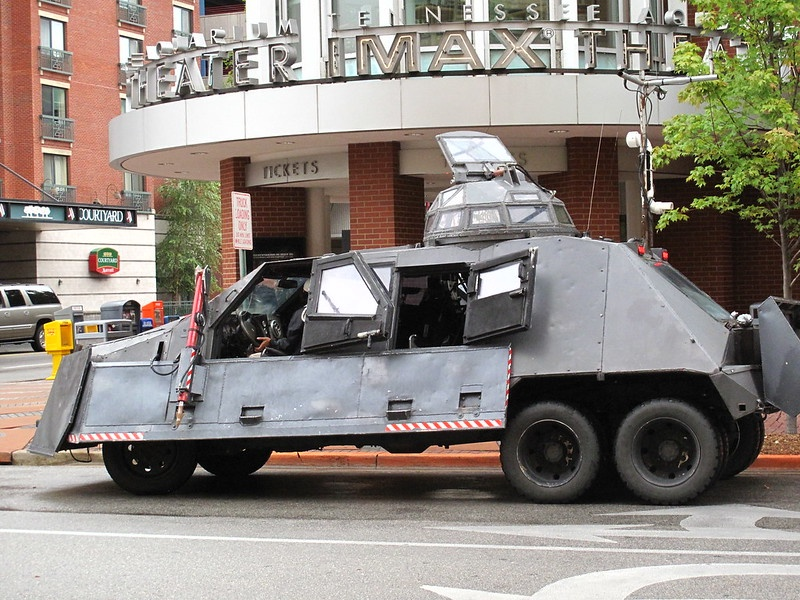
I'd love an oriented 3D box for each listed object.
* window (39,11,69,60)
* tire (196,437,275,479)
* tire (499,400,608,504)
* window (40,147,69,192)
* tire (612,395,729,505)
[{"bbox_3d":[-17.484,-13.193,44.654,1.580,1.742,0.063,11,23,6],"label":"window"},{"bbox_3d":[-2.147,2.022,11.517,0.763,0.256,0.804,0,-1,-6],"label":"tire"},{"bbox_3d":[1.663,1.658,9.833,0.986,1.108,0.363,3,5,9],"label":"tire"},{"bbox_3d":[-17.359,-6.396,44.760,1.794,2.013,0.094,5,11,9],"label":"window"},{"bbox_3d":[2.922,1.598,9.586,1.070,1.202,0.474,0,-5,13],"label":"tire"}]
